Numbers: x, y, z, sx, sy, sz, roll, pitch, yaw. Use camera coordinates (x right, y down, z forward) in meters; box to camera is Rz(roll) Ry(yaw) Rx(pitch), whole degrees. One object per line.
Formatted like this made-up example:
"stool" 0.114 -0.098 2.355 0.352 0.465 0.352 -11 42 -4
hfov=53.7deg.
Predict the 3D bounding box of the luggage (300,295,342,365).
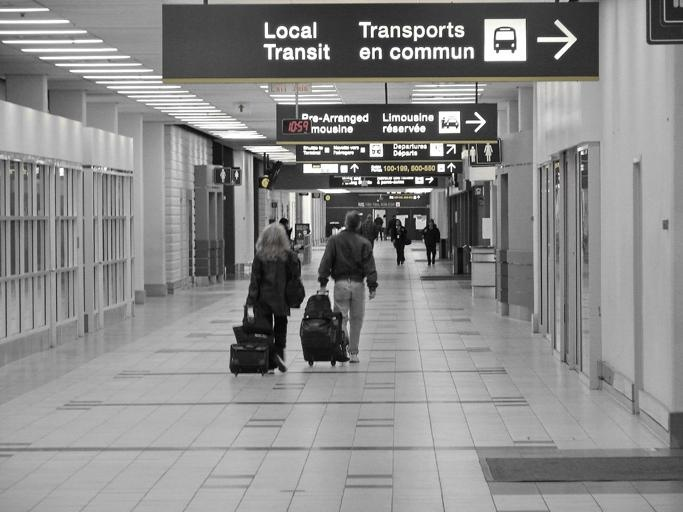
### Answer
"luggage" -0.288 1.025 9.132 0.531 1.004 0.487 -1 -19 -3

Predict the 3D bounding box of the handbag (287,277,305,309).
"handbag" -0.605 0.480 8.800 0.232 0.372 0.115 5 4 -3
